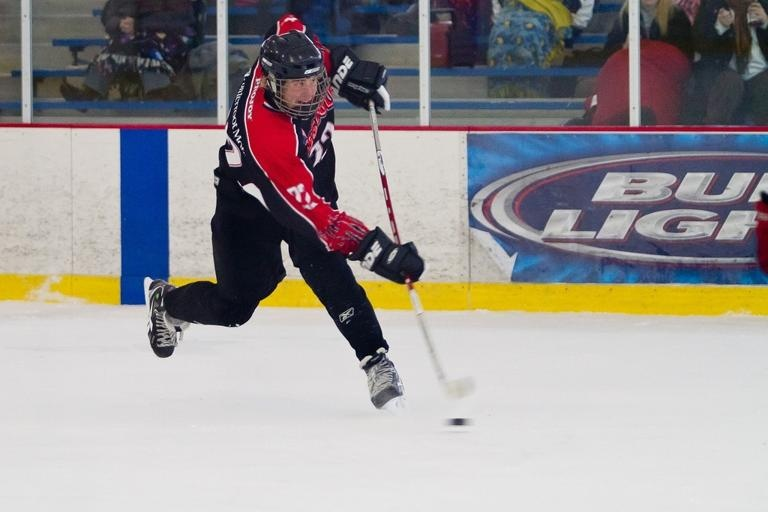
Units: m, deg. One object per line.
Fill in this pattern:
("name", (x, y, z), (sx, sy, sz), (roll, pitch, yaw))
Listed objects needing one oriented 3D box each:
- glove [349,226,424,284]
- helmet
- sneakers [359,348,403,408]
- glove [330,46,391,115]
("glove", (0.017, -0.004, 6.548), (0.378, 0.271, 0.151), (31, -5, -3))
("helmet", (-0.460, -0.952, 6.585), (0.367, 0.431, 0.229), (4, 20, -5))
("sneakers", (-0.029, 0.652, 6.721), (0.170, 0.132, 0.348), (37, 22, -34))
("glove", (-0.122, -0.989, 7.125), (0.445, 0.189, 0.242), (34, 45, 5))
